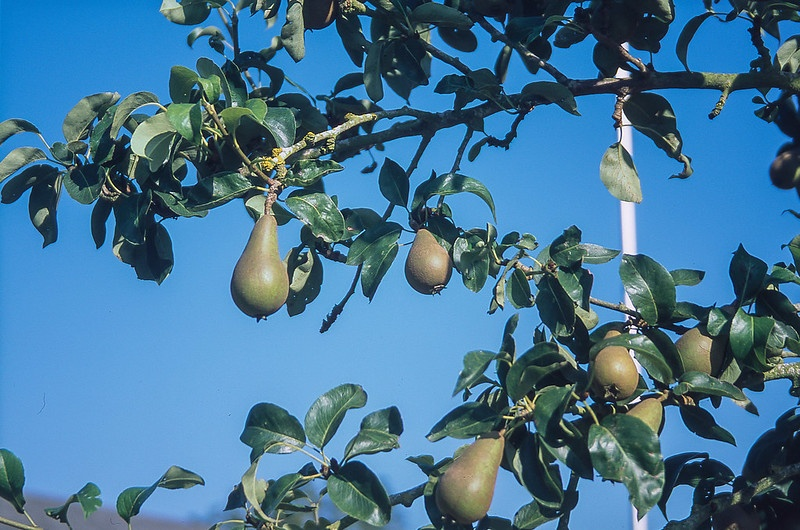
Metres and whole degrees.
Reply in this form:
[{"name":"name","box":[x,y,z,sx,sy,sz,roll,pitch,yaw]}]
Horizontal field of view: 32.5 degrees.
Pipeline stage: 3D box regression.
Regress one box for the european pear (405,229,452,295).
[{"name":"european pear","box":[0.132,-0.024,7.315,0.257,0.400,0.267,2,-20,-3]}]

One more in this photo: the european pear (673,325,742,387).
[{"name":"european pear","box":[1.582,0.491,7.048,0.366,0.222,0.283,-14,-12,-39]}]
